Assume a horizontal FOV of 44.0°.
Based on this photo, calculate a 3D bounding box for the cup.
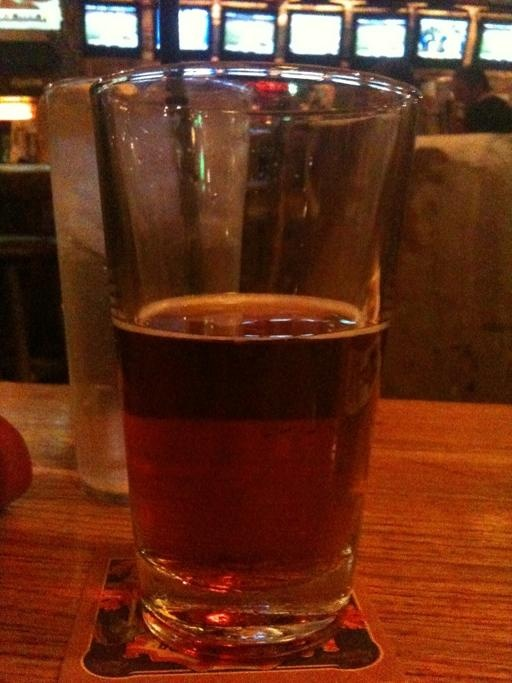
[{"bbox_3d":[-0.010,0.010,0.262,0.135,0.233,0.077,4,11,9],"label":"cup"}]

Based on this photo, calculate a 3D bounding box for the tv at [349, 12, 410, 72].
[{"bbox_3d":[0.347,-0.837,1.807,0.180,0.162,0.093,2,-3,0],"label":"tv"}]

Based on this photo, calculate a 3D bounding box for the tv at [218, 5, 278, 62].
[{"bbox_3d":[-0.022,-0.846,1.747,0.165,0.130,0.062,-3,12,-26],"label":"tv"}]
